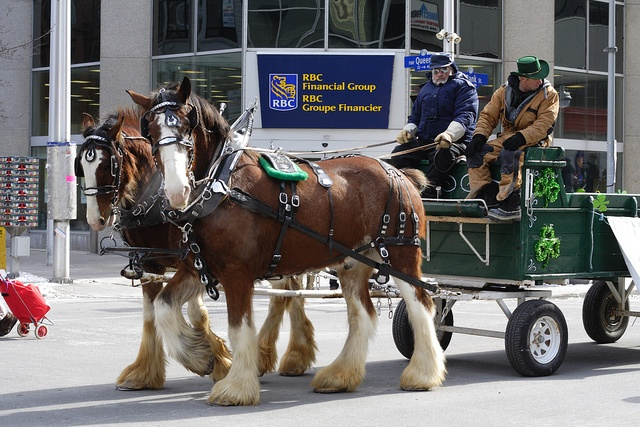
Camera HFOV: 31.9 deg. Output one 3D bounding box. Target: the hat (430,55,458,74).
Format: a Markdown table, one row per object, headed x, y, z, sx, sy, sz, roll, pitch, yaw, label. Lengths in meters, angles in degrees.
| x | y | z | sx | sy | sz | roll | pitch | yaw | label |
| --- | --- | --- | --- | --- | --- | --- | --- | --- | --- |
| 2.069 | -2.517 | 18.686 | 0.354 | 0.156 | 0.263 | 18 | -20 | -30 | hat |

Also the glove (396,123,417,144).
| x | y | z | sx | sy | sz | roll | pitch | yaw | label |
| --- | --- | --- | --- | --- | --- | --- | --- | --- | --- |
| 1.483 | -1.346 | 18.872 | 0.390 | 0.164 | 0.293 | -33 | 19 | -28 | glove |

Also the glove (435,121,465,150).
| x | y | z | sx | sy | sz | roll | pitch | yaw | label |
| --- | --- | --- | --- | --- | --- | --- | --- | --- | --- |
| 2.149 | -1.255 | 18.174 | 0.323 | 0.210 | 0.533 | 27 | 53 | 33 | glove |

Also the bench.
| x | y | z | sx | sy | sz | roll | pitch | yaw | label |
| --- | --- | --- | --- | --- | --- | --- | --- | --- | --- |
| 2.302 | -0.466 | 18.285 | 3.056 | 1.136 | 1.621 | 3 | 3 | 26 | bench |

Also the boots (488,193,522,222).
| x | y | z | sx | sy | sz | roll | pitch | yaw | label |
| --- | --- | --- | --- | --- | --- | --- | --- | --- | --- |
| 2.833 | -0.133 | 17.362 | 0.348 | 0.500 | 0.846 | 3 | 6 | 40 | boots |

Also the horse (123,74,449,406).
| x | y | z | sx | sy | sz | roll | pitch | yaw | label |
| --- | --- | --- | --- | --- | --- | --- | --- | --- | --- |
| -0.416 | 0.571 | 16.885 | 6.066 | 4.441 | 1.678 | 3 | -12 | -40 | horse |

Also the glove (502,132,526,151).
| x | y | z | sx | sy | sz | roll | pitch | yaw | label |
| --- | --- | --- | --- | --- | --- | --- | --- | --- | --- |
| 3.054 | -1.114 | 17.469 | 0.308 | 0.090 | 0.305 | -34 | 14 | -11 | glove |

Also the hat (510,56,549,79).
| x | y | z | sx | sy | sz | roll | pitch | yaw | label |
| --- | --- | --- | --- | --- | --- | --- | --- | --- | --- |
| 3.339 | -2.304 | 17.636 | 0.466 | 0.176 | 0.371 | 13 | 45 | 29 | hat |
